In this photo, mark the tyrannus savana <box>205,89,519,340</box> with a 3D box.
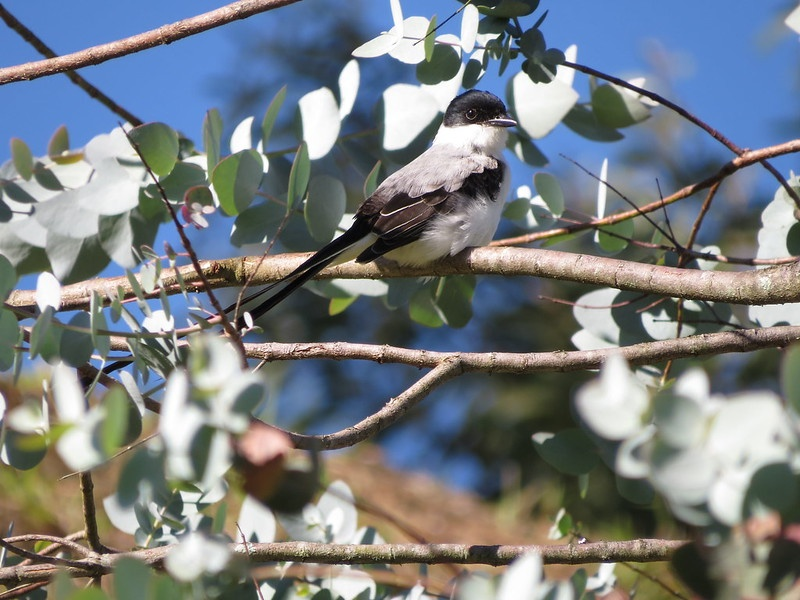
[{"bbox_3d":[-0.194,-0.506,6.858,1.907,1.039,0.623,-12,-2,-17],"label":"tyrannus savana"}]
